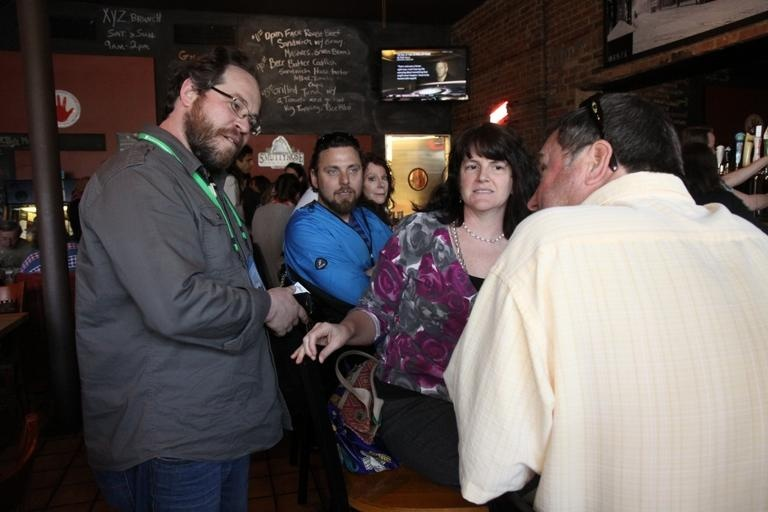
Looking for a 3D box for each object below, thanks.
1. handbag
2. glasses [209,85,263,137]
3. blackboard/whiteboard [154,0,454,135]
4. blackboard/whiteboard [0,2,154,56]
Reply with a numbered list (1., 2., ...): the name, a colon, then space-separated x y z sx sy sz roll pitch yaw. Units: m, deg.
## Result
1. handbag: -0.102 0.620 2.106 0.173 0.423 0.244 -28 -14 38
2. glasses: -0.522 -0.508 1.915 0.134 0.039 0.133 43 0 29
3. blackboard/whiteboard: -0.818 -2.065 5.745 2.646 1.241 1.417 0 2 -12
4. blackboard/whiteboard: -3.129 -2.305 5.532 1.750 0.604 0.043 -4 17 -16
